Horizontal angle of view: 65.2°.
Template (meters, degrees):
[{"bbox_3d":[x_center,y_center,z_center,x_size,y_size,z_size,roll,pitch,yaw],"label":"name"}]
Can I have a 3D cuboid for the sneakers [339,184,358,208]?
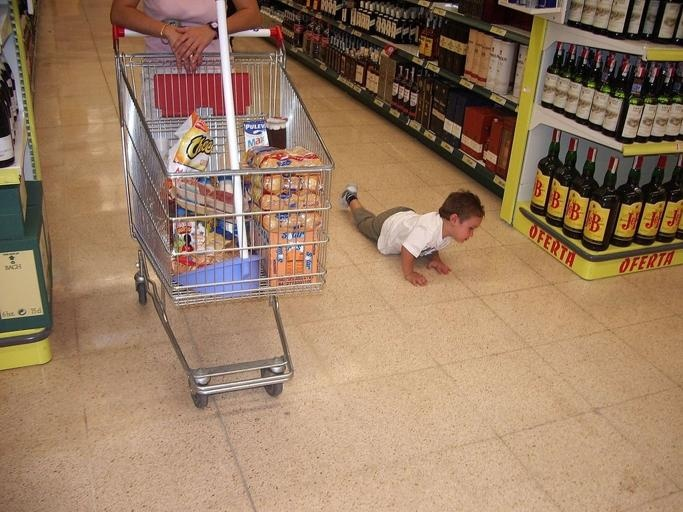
[{"bbox_3d":[0.056,-0.444,4.011,0.074,0.084,0.198,4,32,2],"label":"sneakers"}]

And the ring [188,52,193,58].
[{"bbox_3d":[-0.681,-0.913,2.427,0.015,0.026,0.027,-7,58,-16],"label":"ring"}]

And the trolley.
[{"bbox_3d":[-0.495,-0.180,2.442,0.928,1.597,1.189,-16,29,-21],"label":"trolley"}]
